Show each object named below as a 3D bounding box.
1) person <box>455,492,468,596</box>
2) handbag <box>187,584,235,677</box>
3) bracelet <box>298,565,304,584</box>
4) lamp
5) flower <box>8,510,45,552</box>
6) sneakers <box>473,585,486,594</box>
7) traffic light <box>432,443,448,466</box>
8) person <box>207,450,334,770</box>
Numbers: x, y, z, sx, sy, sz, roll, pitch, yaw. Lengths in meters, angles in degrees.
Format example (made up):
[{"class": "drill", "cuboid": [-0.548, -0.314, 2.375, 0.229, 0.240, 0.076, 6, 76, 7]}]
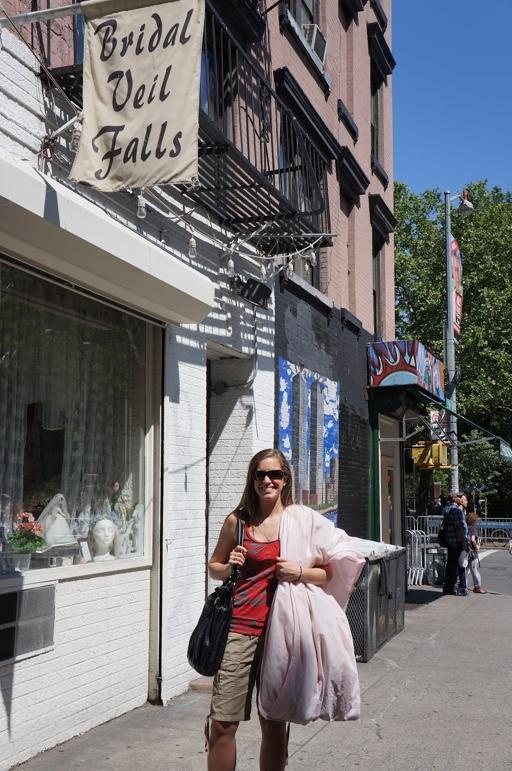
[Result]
[{"class": "person", "cuboid": [4.171, 3.202, 12.834, 0.252, 2.001, 1.020, -2, -10, 18]}, {"class": "handbag", "cuboid": [-0.176, 0.895, 2.363, 0.132, 0.379, 0.112, 15, 6, 0]}, {"class": "bracelet", "cuboid": [0.162, 0.698, 2.324, 0.017, 0.055, 0.038, 0, -10, 4]}, {"class": "lamp", "cuboid": [-0.069, -1.645, 7.624, 0.784, 0.636, 2.384, 4, 17, -31]}, {"class": "flower", "cuboid": [-1.360, 0.867, 3.696, 0.150, 0.254, 0.159, -5, 8, -22]}, {"class": "sneakers", "cuboid": [4.653, 4.260, 13.176, 0.239, 0.116, 0.345, -3, -13, 21]}, {"class": "traffic light", "cuboid": [4.366, 1.654, 14.976, 0.434, 0.575, 0.198, 7, -11, -28]}, {"class": "person", "cuboid": [0.042, 0.842, 2.452, 0.462, 1.213, 0.397, 2, -10, -5]}]
